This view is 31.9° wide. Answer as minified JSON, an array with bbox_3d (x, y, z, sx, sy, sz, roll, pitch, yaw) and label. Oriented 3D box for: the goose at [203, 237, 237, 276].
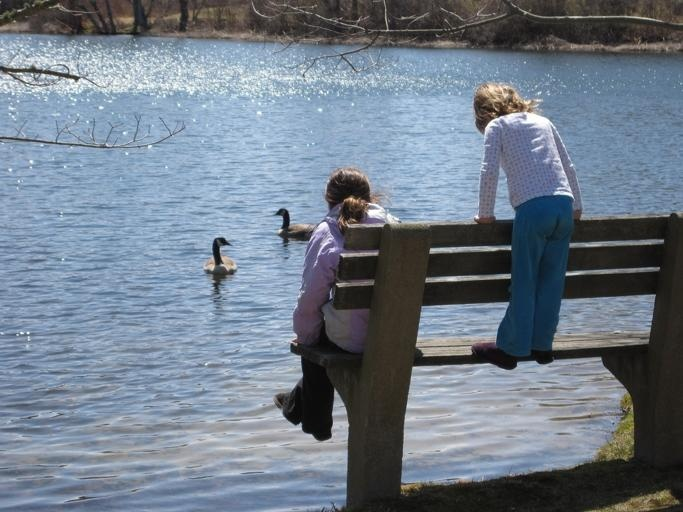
[{"bbox_3d":[-2.387,0.023,23.143,0.432,0.615,1.025,-3,18,-9],"label":"goose"}]
